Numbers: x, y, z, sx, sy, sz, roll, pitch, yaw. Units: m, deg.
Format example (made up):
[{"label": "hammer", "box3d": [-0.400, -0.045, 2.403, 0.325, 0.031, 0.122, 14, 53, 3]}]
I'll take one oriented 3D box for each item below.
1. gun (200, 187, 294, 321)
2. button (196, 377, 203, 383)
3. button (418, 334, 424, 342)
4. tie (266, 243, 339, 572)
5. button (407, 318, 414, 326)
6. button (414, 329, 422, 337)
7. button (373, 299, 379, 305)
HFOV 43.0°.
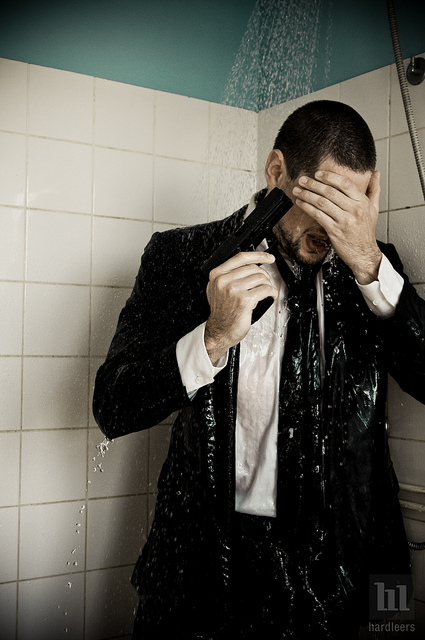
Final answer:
[{"label": "gun", "box3d": [0.057, -0.125, 0.846, 0.178, 0.131, 0.063, -42, 84, -3]}, {"label": "button", "box3d": [-0.022, 0.091, 0.833, 0.007, 0.002, 0.009, 7, 95, 7]}, {"label": "button", "box3d": [0.357, 0.030, 0.932, 0.009, 0.002, 0.010, -38, 104, 6]}, {"label": "tie", "box3d": [0.171, 0.149, 1.050, 0.128, 0.216, 0.594, 1, 85, 4]}, {"label": "button", "box3d": [0.340, 0.004, 0.927, 0.010, 0.004, 0.011, 2, 61, 20]}, {"label": "button", "box3d": [0.351, 0.022, 0.927, 0.010, 0.003, 0.011, 26, 85, -6]}, {"label": "button", "box3d": [0.278, -0.031, 0.923, 0.010, 0.011, 0.007, 2, 84, 1]}]
